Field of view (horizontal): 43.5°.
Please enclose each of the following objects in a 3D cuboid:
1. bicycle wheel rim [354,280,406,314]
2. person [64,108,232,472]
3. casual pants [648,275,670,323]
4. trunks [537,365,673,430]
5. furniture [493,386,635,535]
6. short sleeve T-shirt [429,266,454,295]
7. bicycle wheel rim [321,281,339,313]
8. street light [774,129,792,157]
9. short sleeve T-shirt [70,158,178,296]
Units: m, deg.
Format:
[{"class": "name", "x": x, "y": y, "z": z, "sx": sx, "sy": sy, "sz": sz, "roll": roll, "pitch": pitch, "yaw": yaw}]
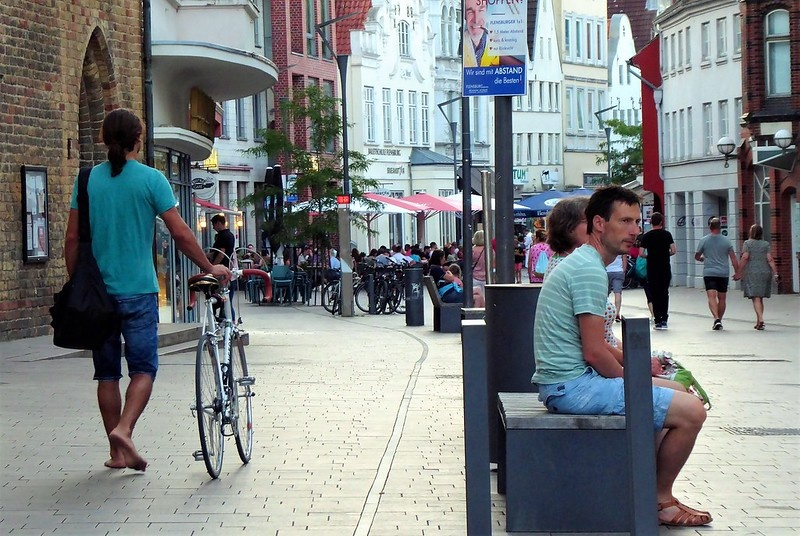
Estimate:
[{"class": "bicycle wheel rim", "x": -0.624, "y": 0.818, "z": 28.731, "sx": 1.524, "sy": 1.010, "sz": 0.784, "roll": 0, "pitch": 3, "yaw": 4}, {"class": "person", "x": -2.380, "y": 0.191, "z": 8.569, "sx": 1.513, "sy": 2.981, "sz": 1.272, "roll": 1, "pitch": -2, "yaw": 12}, {"class": "casual pants", "x": 5.623, "y": 0.501, "z": 21.666, "sx": 0.422, "sy": 1.200, "sz": 0.330, "roll": 0, "pitch": 22, "yaw": 8}, {"class": "trunks", "x": 1.375, "y": 0.864, "z": 6.696, "sx": 0.662, "sy": 0.301, "sz": 0.416, "roll": 1, "pitch": 0, "yaw": 5}, {"class": "furniture", "x": 1.095, "y": 1.370, "z": 6.840, "sx": 0.649, "sy": 0.653, "sz": 1.293, "roll": 0, "pitch": 1, "yaw": -3}, {"class": "short sleeve T-shirt", "x": 0.973, "y": 0.316, "z": 23.342, "sx": 0.332, "sy": 0.605, "sz": 0.624, "roll": -27, "pitch": 6, "yaw": -11}, {"class": "bicycle wheel rim", "x": -2.037, "y": 0.856, "z": 29.257, "sx": 0.671, "sy": 0.366, "sz": 1.457, "roll": 1, "pitch": -22, "yaw": -9}, {"class": "street light", "x": 12.771, "y": -4.173, "z": 33.549, "sx": 0.676, "sy": 0.983, "sz": 0.683, "roll": 0, "pitch": -2, "yaw": -5}, {"class": "short sleeve T-shirt", "x": -2.350, "y": -0.358, "z": 8.482, "sx": 0.993, "sy": 1.182, "sz": 0.405, "roll": -8, "pitch": 29, "yaw": -14}]
